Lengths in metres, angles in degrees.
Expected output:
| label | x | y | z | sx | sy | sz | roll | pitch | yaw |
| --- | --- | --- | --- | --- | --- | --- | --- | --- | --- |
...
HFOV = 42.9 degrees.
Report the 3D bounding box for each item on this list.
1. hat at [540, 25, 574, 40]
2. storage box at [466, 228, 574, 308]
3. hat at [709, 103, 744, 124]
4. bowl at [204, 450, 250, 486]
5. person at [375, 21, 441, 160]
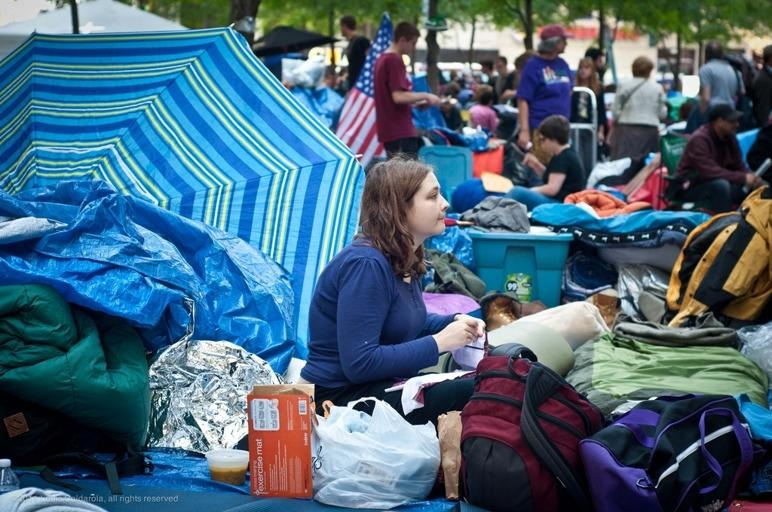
| label | x | y | z | sx | sy | sz | roll | pitch | yaw |
| --- | --- | --- | --- | --- | --- | --- | --- | --- | --- |
| hat | 2.027 | -2.670 | 11.539 | 0.304 | 0.162 | 0.221 | -17 | 20 | -14 |
| storage box | 1.325 | -0.036 | 9.389 | 0.986 | 0.881 | 1.333 | 2 | 22 | 11 |
| hat | 3.486 | -1.461 | 9.990 | 0.243 | 0.133 | 0.175 | 1 | 17 | 8 |
| bowl | -0.963 | 1.285 | 5.949 | 0.209 | 0.134 | 0.215 | 1 | -11 | 0 |
| person | 0.190 | -1.803 | 10.500 | 0.632 | 1.445 | 0.836 | 2 | 9 | -1 |
